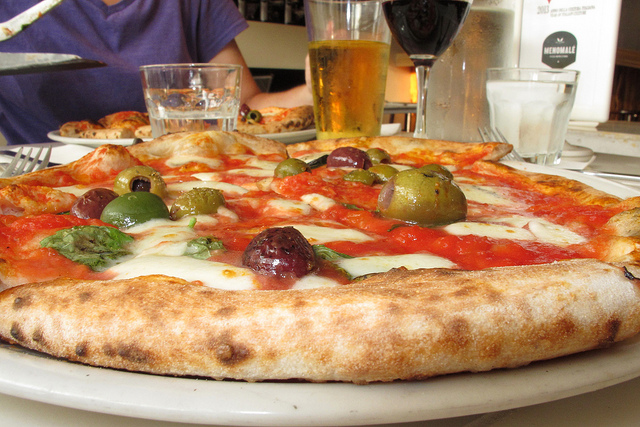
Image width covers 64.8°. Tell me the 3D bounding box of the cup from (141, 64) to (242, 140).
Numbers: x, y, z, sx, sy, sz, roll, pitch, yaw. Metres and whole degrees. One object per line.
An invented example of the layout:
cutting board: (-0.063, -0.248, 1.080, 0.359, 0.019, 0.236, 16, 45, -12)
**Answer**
cup: (-0.438, -0.442, 2.101, 0.477, 0.262, 0.358, -3, 11, -4)

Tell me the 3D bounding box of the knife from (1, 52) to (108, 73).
knife: (-0.892, -0.488, 1.634, 0.393, 0.060, 0.165, 12, 26, 26)

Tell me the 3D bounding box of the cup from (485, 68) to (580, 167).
cup: (0.708, -0.373, 1.956, 0.485, 0.371, 0.400, 1, 15, 9)
